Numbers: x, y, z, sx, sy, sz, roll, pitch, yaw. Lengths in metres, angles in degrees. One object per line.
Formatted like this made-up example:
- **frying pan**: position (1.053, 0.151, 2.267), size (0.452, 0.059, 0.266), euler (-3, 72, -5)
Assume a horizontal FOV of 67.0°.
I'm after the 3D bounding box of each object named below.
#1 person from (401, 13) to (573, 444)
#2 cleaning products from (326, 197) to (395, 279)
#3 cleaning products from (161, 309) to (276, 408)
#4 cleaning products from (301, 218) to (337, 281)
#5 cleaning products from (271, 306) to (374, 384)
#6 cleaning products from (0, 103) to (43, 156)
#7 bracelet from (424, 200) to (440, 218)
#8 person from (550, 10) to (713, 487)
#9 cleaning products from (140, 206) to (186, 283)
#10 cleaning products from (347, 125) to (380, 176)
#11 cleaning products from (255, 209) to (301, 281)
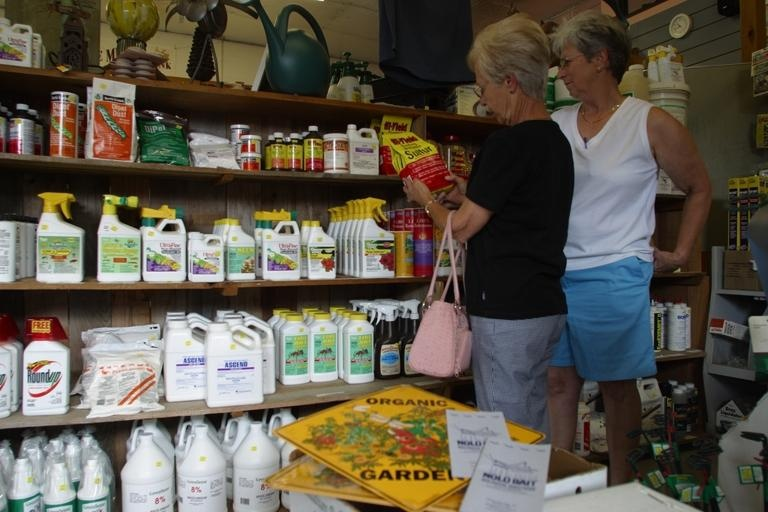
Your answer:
- **person**: position (0.556, -0.160, 2.647), size (0.507, 1.881, 0.443), euler (-3, 5, -28)
- **cleaning products**: position (-0.174, -0.113, 3.510), size (0.475, 0.465, 0.216), euler (4, 7, 44)
- **cleaning products**: position (-0.887, 0.547, 3.141), size (0.573, 0.463, 0.297), euler (-2, 5, -10)
- **cleaning products**: position (-0.379, -0.037, 3.341), size (0.190, 0.328, 0.141), euler (-1, 5, -8)
- **cleaning products**: position (-0.355, 0.530, 3.322), size (0.446, 0.299, 0.138), euler (-1, 5, -13)
- **cleaning products**: position (-1.865, -0.650, 2.995), size (0.167, 0.271, 0.292), euler (-3, 5, -26)
- **bracelet**: position (0.227, -0.235, 2.791), size (0.034, 0.067, 0.057), euler (4, 3, 26)
- **person**: position (1.214, -0.096, 2.934), size (0.692, 2.179, 0.341), euler (1, 5, 24)
- **cleaning products**: position (-1.167, -0.065, 3.068), size (0.221, 0.399, 0.128), euler (-3, 5, -22)
- **cleaning products**: position (-0.122, -0.626, 3.435), size (0.196, 0.299, 0.122), euler (-3, 5, -20)
- **cleaning products**: position (-0.601, -0.065, 3.321), size (0.246, 0.383, 0.280), euler (-3, 5, -19)
